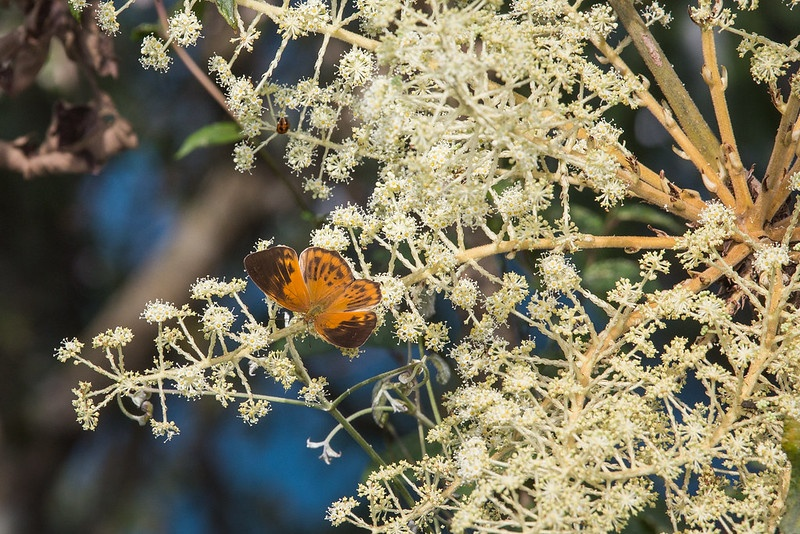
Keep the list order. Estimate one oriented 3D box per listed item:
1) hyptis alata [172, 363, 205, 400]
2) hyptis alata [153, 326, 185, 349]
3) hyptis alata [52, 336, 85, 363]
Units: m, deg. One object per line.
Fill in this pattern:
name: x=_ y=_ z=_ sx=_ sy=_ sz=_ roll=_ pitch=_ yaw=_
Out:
hyptis alata: x=-0.445 y=0.246 z=2.327 sx=0.066 sy=0.066 sz=0.071 roll=-12 pitch=-10 yaw=0
hyptis alata: x=-0.511 y=0.166 z=2.404 sx=0.064 sy=0.071 sz=0.035 roll=4 pitch=16 yaw=-15
hyptis alata: x=-0.799 y=0.199 z=2.624 sx=0.064 sy=0.037 sz=0.065 roll=-32 pitch=1 yaw=-34
